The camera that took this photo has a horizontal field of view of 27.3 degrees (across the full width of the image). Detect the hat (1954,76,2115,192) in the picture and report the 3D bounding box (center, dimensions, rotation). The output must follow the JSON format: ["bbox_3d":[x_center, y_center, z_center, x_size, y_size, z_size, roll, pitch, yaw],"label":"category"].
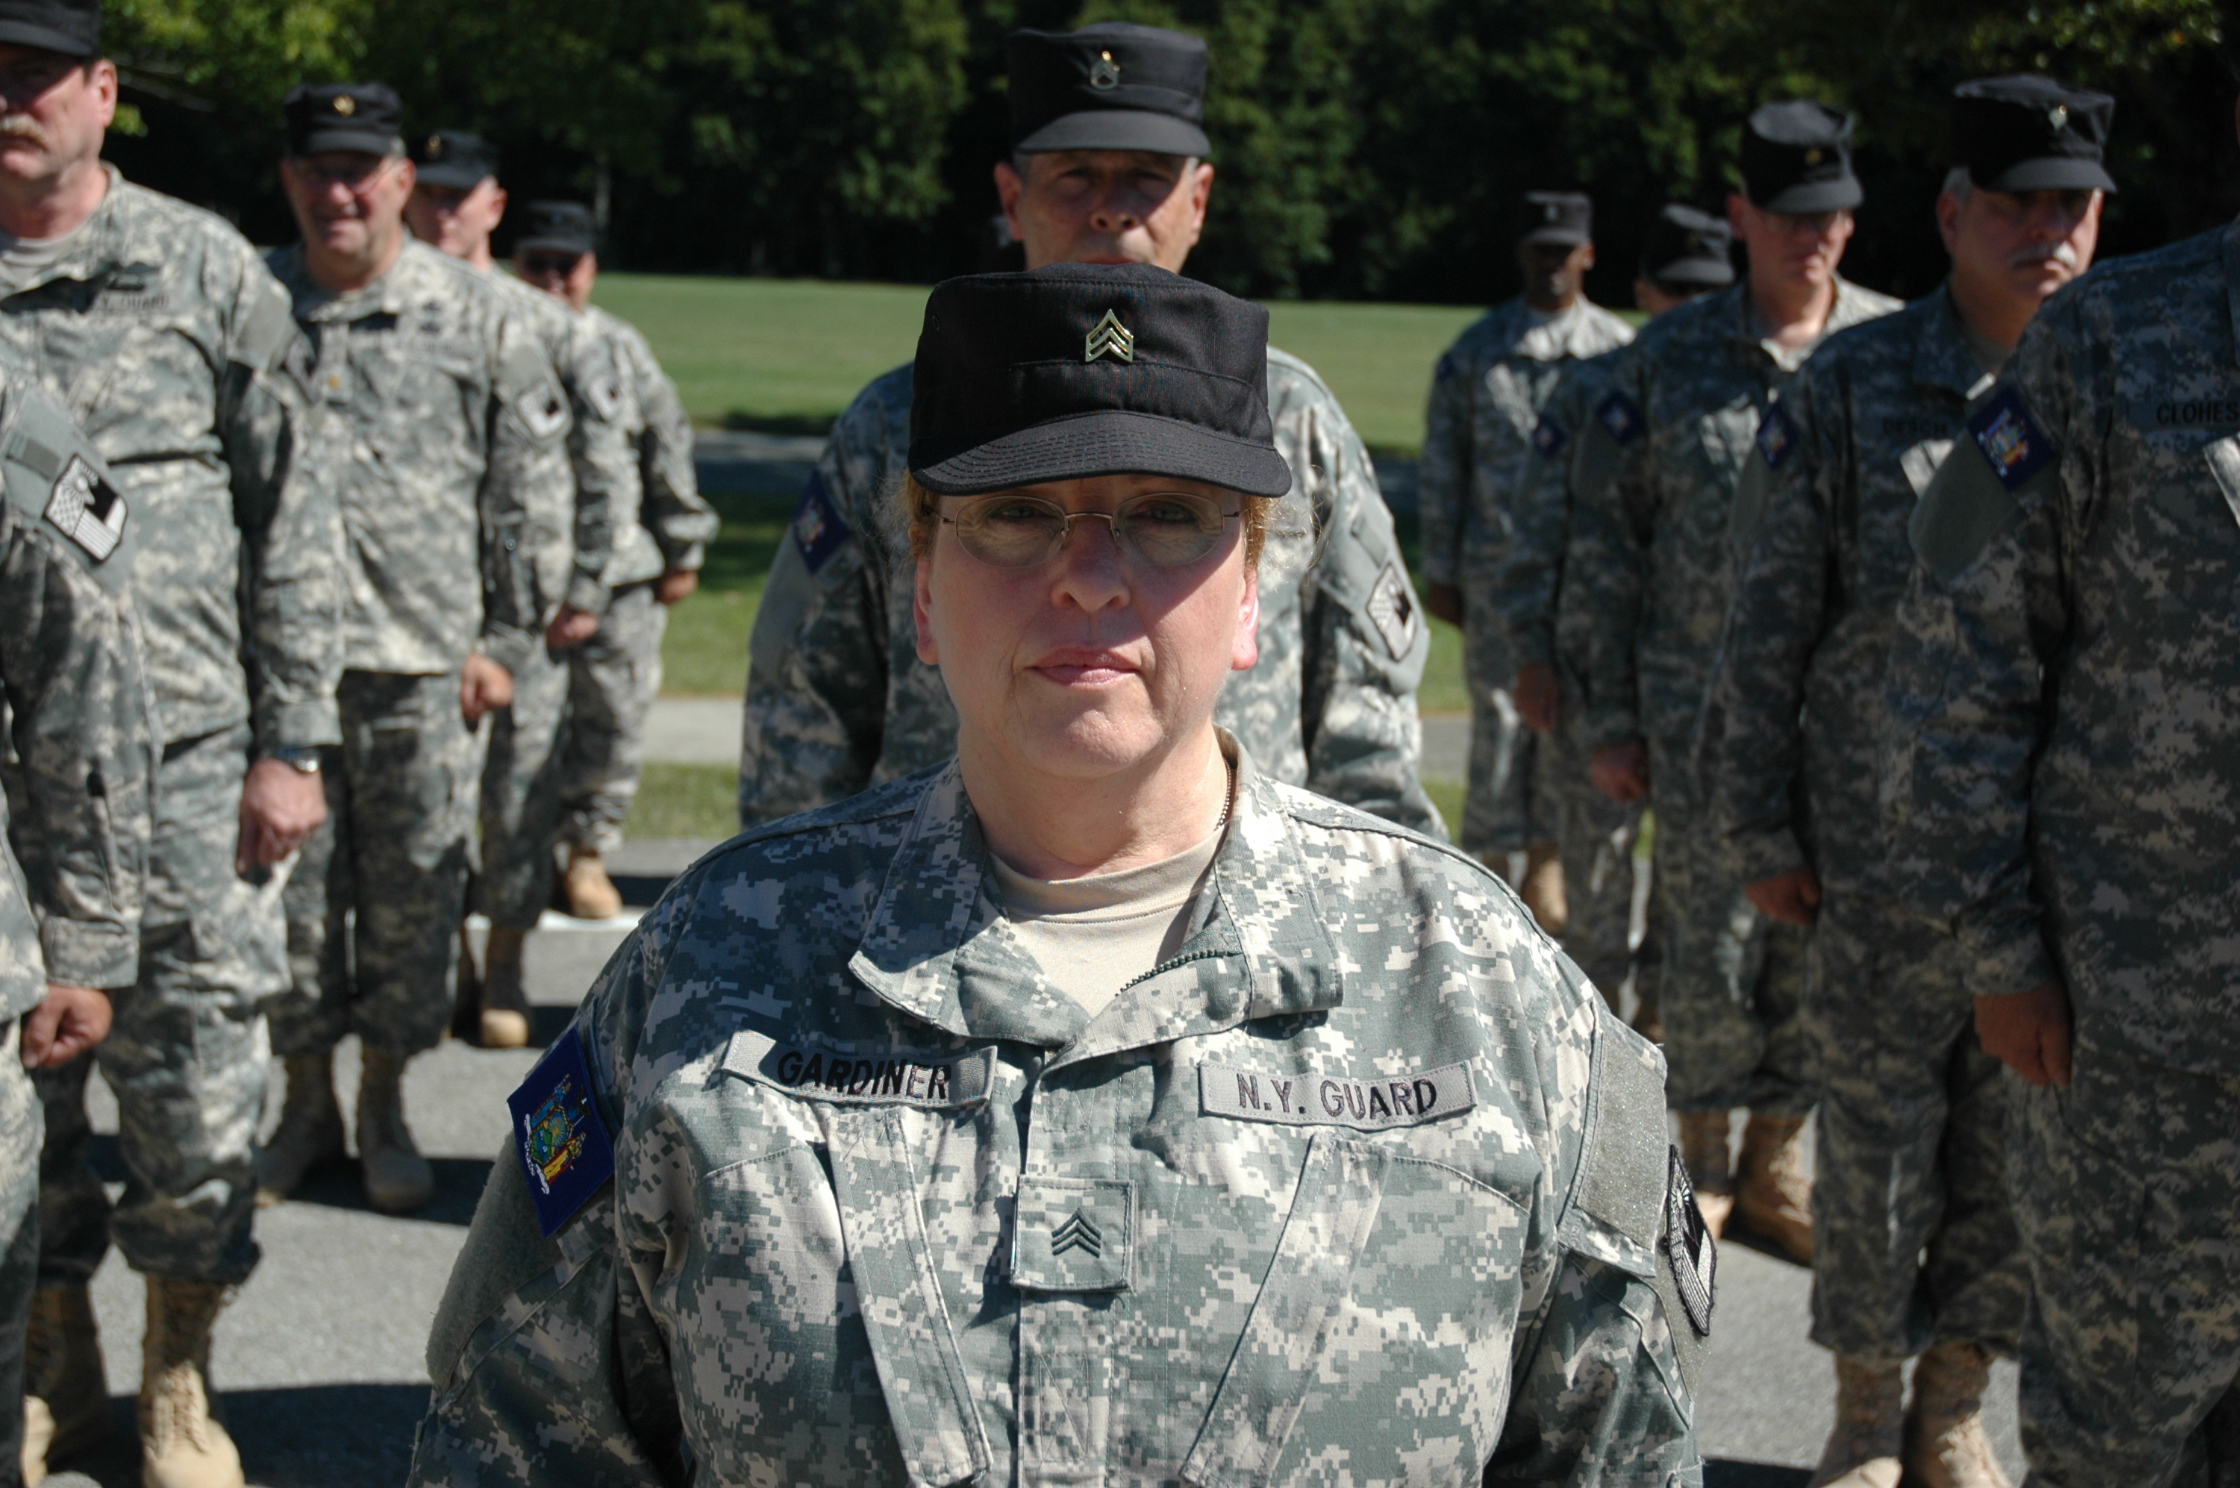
[{"bbox_3d":[2.715,-1.824,13.817,0.369,0.216,0.441,-2,12,-9],"label":"hat"}]

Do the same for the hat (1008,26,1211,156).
[{"bbox_3d":[-0.052,-1.858,13.194,0.407,0.240,0.483,0,8,-3],"label":"hat"}]

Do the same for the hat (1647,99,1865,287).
[{"bbox_3d":[2.217,-1.872,15.416,0.613,0.319,0.763,0,36,0],"label":"hat"}]

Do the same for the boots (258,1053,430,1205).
[{"bbox_3d":[-2.513,1.263,15.084,0.467,0.490,0.553,1,-10,-22],"label":"boots"}]

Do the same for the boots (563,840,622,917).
[{"bbox_3d":[-1.987,0.538,17.299,0.154,0.293,0.280,-20,58,-19],"label":"boots"}]

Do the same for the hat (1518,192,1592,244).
[{"bbox_3d":[1.687,-2.053,18.065,0.221,0.139,0.276,2,8,17],"label":"hat"}]
